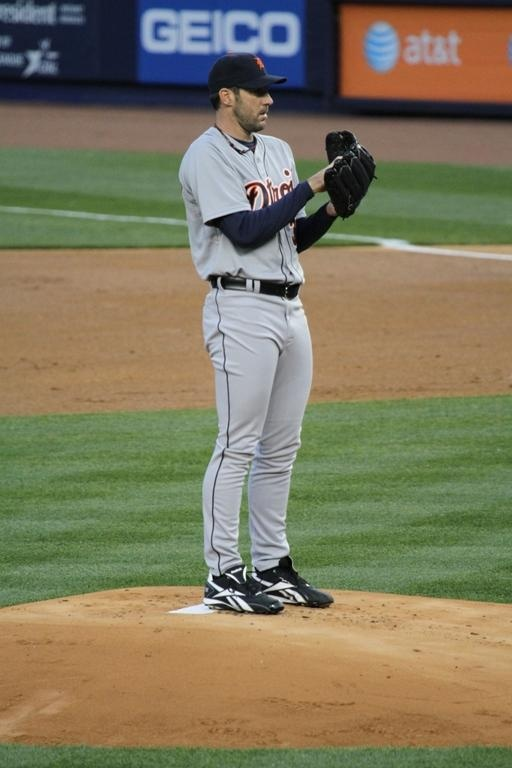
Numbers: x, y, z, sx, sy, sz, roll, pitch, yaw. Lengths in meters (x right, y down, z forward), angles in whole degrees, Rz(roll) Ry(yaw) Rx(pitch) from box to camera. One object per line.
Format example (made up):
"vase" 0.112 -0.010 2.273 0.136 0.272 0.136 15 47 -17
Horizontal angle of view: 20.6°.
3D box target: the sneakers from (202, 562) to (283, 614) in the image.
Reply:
"sneakers" -0.054 0.644 4.412 0.298 0.159 0.105 4 2 21

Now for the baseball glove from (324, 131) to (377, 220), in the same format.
"baseball glove" 0.288 -0.697 4.439 0.147 0.280 0.205 -13 -23 15

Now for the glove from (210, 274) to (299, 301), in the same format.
"glove" 0.002 -0.298 4.353 0.289 0.069 0.185 1 5 -6

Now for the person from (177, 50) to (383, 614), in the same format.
"person" 0.043 -0.157 4.425 0.524 1.741 0.392 -2 6 -32

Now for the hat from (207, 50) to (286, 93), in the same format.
"hat" -0.028 -0.960 4.357 0.201 0.111 0.130 -7 11 17
